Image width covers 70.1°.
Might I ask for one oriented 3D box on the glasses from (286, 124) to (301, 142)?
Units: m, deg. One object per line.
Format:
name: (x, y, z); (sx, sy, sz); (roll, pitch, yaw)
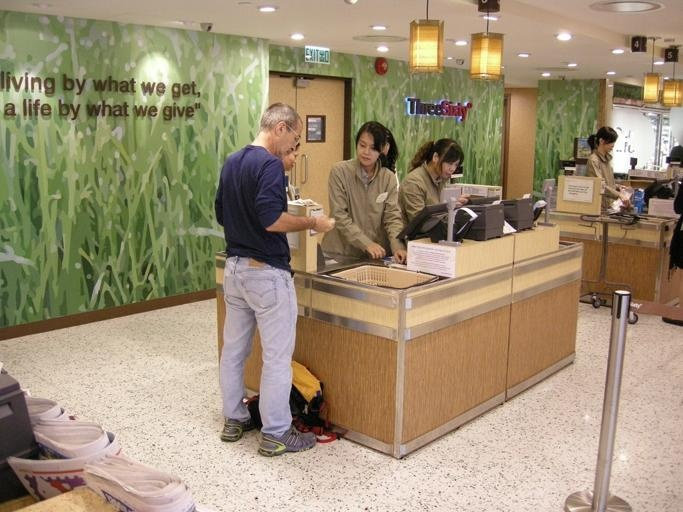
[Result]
glasses: (-0.308, -0.787, 3.127); (0.057, 0.119, 0.087); (-3, 11, 1)

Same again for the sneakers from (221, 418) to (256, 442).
sneakers: (-0.725, 1.188, 3.477); (0.108, 0.134, 0.298); (4, 9, 28)

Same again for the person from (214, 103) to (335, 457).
person: (-0.503, 0.308, 3.154); (0.662, 2.002, 0.395); (1, 11, 1)

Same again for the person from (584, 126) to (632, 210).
person: (3.780, -1.265, 6.857); (0.582, 1.129, 1.409); (6, 13, 26)

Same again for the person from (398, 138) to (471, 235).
person: (0.837, -0.374, 4.450); (0.509, 1.354, 0.684); (-4, 16, -6)

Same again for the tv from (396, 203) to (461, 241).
tv: (0.593, -0.239, 3.426); (0.229, 0.217, 0.359); (9, 12, 34)

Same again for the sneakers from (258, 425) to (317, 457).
sneakers: (-0.358, 1.233, 3.300); (0.384, 0.196, 0.162); (-4, 7, -27)

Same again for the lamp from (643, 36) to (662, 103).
lamp: (5.429, -3.152, 8.416); (0.251, 0.988, 1.434); (7, 14, 31)
